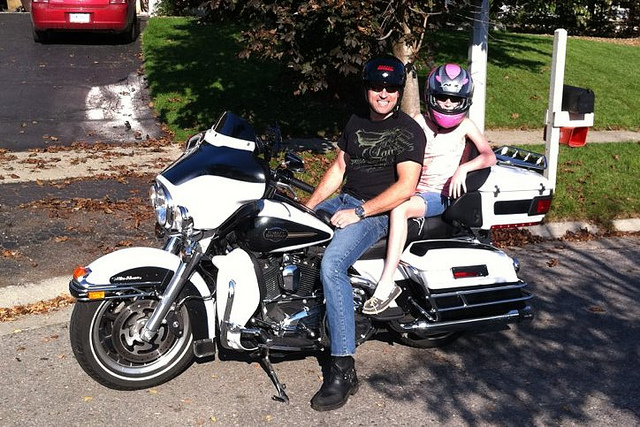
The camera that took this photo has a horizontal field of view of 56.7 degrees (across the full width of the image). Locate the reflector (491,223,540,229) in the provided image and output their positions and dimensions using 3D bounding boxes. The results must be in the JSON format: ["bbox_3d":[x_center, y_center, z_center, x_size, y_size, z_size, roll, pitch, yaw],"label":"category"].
[{"bbox_3d":[2.297,0.149,7.041,0.610,0.075,0.071,-4,3,-13],"label":"reflector"}]

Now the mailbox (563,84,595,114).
[{"bbox_3d":[3.995,-1.862,9.460,0.285,0.411,0.895,-5,21,-7],"label":"mailbox"}]

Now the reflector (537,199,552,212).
[{"bbox_3d":[2.441,-0.086,6.491,0.131,0.138,0.081,16,-11,-26],"label":"reflector"}]

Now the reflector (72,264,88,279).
[{"bbox_3d":[-2.457,0.600,6.054,0.164,0.079,0.257,1,15,-14],"label":"reflector"}]

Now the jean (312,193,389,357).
[{"bbox_3d":[0.286,0.621,6.026,0.586,1.728,0.498,-12,-15,39],"label":"jean"}]
